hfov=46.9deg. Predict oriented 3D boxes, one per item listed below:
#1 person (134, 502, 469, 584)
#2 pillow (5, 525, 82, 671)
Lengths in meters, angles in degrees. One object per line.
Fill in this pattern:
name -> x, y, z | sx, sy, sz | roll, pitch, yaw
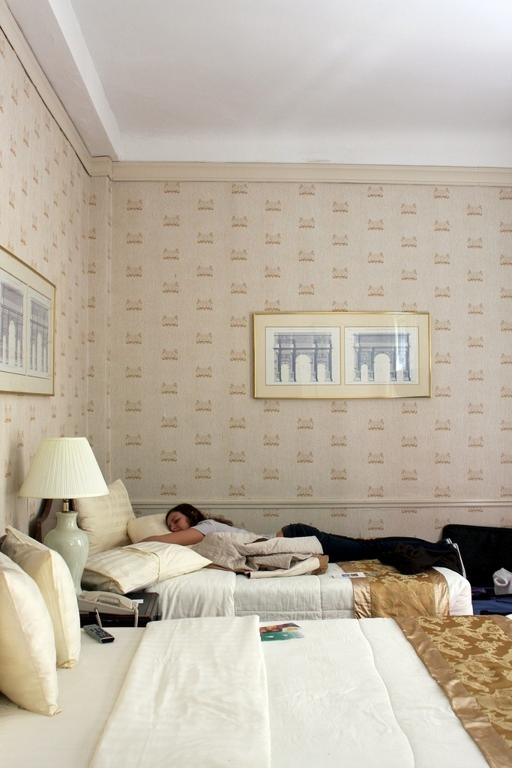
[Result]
person -> 0.267, 0.883, 3.269 | 0.957, 0.281, 0.761 | -2, -7, 0
pillow -> -0.582, 0.587, 1.609 | 0.136, 0.283, 0.392 | -2, 0, -24
